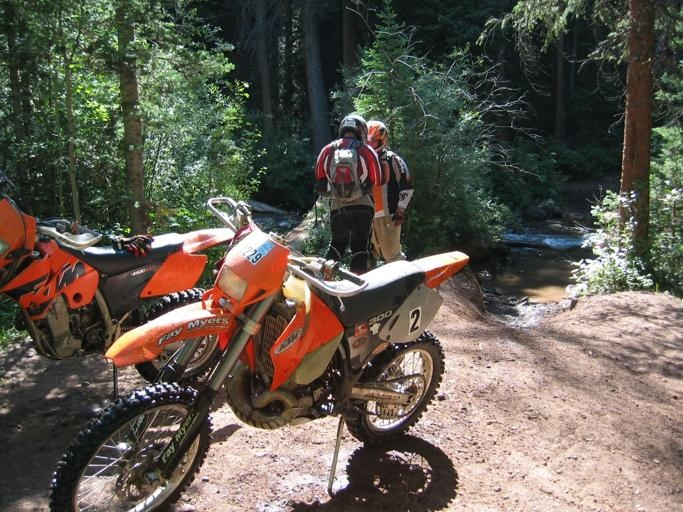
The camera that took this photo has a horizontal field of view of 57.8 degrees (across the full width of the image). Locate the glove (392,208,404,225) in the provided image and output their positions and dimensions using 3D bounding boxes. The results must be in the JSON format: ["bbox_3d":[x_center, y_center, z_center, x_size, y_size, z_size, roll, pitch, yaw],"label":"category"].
[{"bbox_3d":[0.840,-0.577,9.056,0.158,0.201,0.095,-6,5,-3],"label":"glove"}]

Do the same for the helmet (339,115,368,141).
[{"bbox_3d":[0.174,-1.696,8.369,0.318,0.393,0.352,-1,50,9],"label":"helmet"}]

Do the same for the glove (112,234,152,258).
[{"bbox_3d":[-2.247,-0.109,6.614,0.296,0.107,0.232,3,14,-12],"label":"glove"}]
